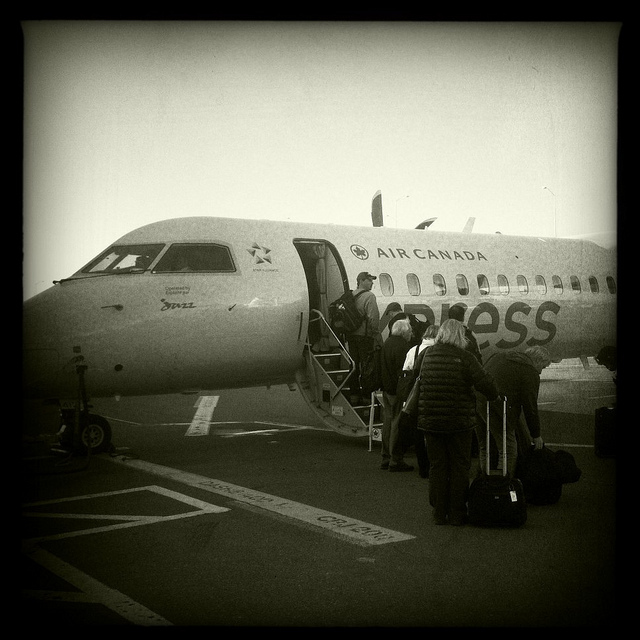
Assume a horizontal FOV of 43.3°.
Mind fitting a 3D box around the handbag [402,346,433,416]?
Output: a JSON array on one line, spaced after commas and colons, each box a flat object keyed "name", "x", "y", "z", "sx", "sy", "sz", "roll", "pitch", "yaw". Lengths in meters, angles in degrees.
[{"name": "handbag", "x": 0.920, "y": 0.702, "z": 7.981, "sx": 0.339, "sy": 0.663, "sz": 0.299, "roll": 3, "pitch": 19, "yaw": -10}]

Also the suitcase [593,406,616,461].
[{"name": "suitcase", "x": 3.713, "y": 1.459, "z": 10.521, "sx": 0.252, "sy": 0.692, "sz": 0.400, "roll": 1, "pitch": 4, "yaw": 19}]

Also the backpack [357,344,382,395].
[{"name": "backpack", "x": 0.691, "y": 0.642, "z": 11.064, "sx": 0.300, "sy": 0.633, "sz": 0.448, "roll": 5, "pitch": -30, "yaw": 0}]

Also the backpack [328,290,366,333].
[{"name": "backpack", "x": 0.406, "y": -0.114, "z": 11.556, "sx": 0.229, "sy": 0.423, "sz": 0.400, "roll": 17, "pitch": -43, "yaw": -35}]

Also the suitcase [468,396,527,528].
[{"name": "suitcase", "x": 1.612, "y": 1.322, "z": 7.484, "sx": 0.567, "sy": 1.144, "sz": 0.537, "roll": -1, "pitch": 4, "yaw": -19}]

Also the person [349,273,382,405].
[{"name": "person", "x": 0.681, "y": 0.175, "z": 11.668, "sx": 0.459, "sy": 1.746, "sz": 0.577, "roll": -4, "pitch": 8, "yaw": -31}]
